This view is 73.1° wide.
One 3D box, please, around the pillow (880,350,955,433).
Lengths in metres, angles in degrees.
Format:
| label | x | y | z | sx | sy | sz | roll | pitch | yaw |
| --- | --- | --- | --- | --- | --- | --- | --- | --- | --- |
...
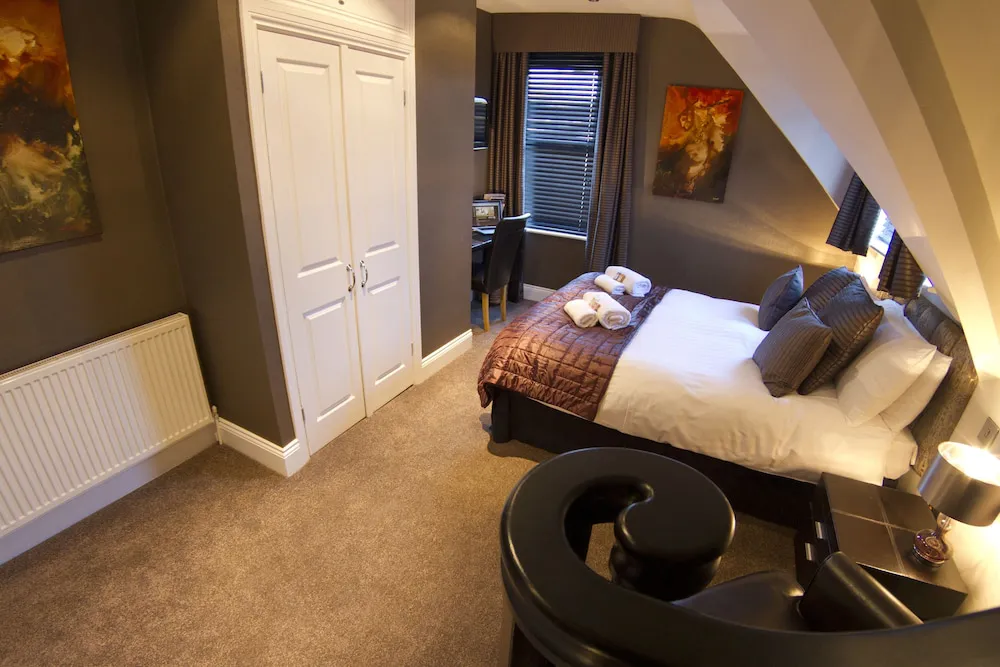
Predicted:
| label | x | y | z | sx | sy | sz | roll | pitch | yaw |
| --- | --- | --- | --- | --- | --- | --- | --- | --- | --- |
| pillow | 2.214 | 0.293 | 3.730 | 0.106 | 0.384 | 0.379 | 27 | 3 | 30 |

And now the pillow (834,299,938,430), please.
| label | x | y | z | sx | sy | sz | roll | pitch | yaw |
| --- | --- | --- | --- | --- | --- | --- | --- | --- | --- |
| pillow | 2.148 | 0.197 | 3.795 | 0.191 | 0.446 | 0.705 | 32 | 55 | 9 |

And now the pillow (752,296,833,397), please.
| label | x | y | z | sx | sy | sz | roll | pitch | yaw |
| --- | --- | --- | --- | --- | --- | --- | --- | --- | --- |
| pillow | 1.692 | -0.108 | 4.064 | 0.400 | 0.516 | 0.820 | -9 | 16 | 16 |

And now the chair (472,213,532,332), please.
| label | x | y | z | sx | sy | sz | roll | pitch | yaw |
| --- | --- | --- | --- | --- | --- | --- | --- | --- | --- |
| chair | -0.009 | -0.578 | 6.107 | 0.583 | 1.045 | 0.561 | 19 | 44 | 17 |

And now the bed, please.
| label | x | y | z | sx | sy | sz | roll | pitch | yaw |
| --- | --- | --- | --- | --- | --- | --- | --- | --- | --- |
| bed | 0.958 | 0.381 | 4.273 | 1.955 | 0.861 | 1.797 | 20 | 45 | 25 |

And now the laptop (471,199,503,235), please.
| label | x | y | z | sx | sy | sz | roll | pitch | yaw |
| --- | --- | --- | --- | --- | --- | --- | --- | --- | --- |
| laptop | -0.132 | -1.071 | 6.245 | 0.380 | 0.377 | 0.200 | -15 | 23 | -37 |
